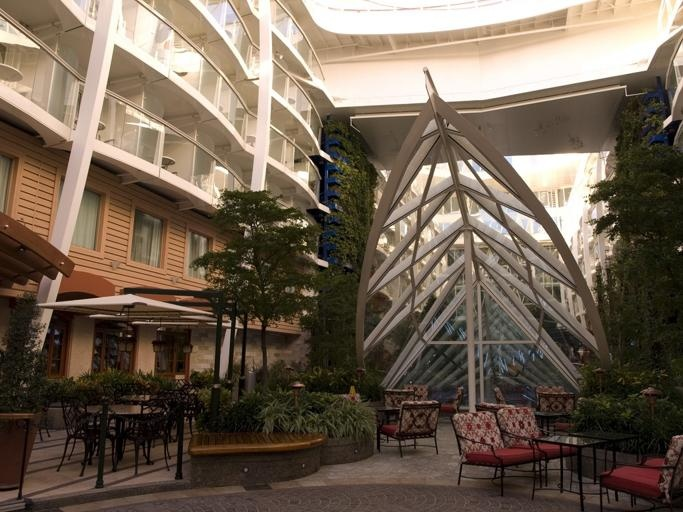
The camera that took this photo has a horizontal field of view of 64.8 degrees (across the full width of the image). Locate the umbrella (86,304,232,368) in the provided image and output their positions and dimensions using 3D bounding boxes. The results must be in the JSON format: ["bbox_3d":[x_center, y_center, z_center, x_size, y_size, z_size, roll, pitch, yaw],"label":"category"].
[{"bbox_3d":[-6.000,2.602,17.200,3.228,1.229,3.501,4,-13,-16],"label":"umbrella"}]

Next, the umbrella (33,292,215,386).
[{"bbox_3d":[-4.940,1.443,12.960,3.380,1.100,3.778,2,-3,-16],"label":"umbrella"}]
